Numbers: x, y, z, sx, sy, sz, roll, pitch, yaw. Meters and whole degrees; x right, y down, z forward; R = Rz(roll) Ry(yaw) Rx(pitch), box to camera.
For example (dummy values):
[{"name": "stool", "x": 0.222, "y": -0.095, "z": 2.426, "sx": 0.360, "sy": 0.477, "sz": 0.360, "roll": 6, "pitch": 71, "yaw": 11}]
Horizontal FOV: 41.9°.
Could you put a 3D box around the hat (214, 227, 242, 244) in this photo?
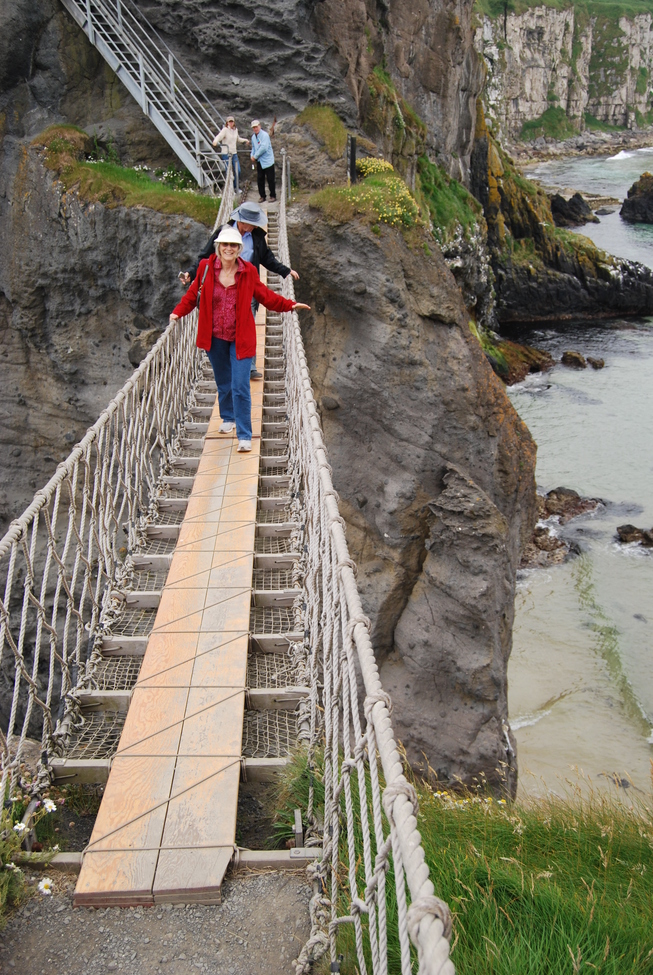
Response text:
[{"name": "hat", "x": -0.586, "y": -1.529, "z": 5.104, "sx": 0.151, "sy": 0.084, "sz": 0.190, "roll": 1, "pitch": 6, "yaw": -2}]

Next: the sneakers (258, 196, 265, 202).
[{"name": "sneakers", "x": -1.000, "y": -4.381, "z": 13.036, "sx": 0.051, "sy": 0.057, "sz": 0.137, "roll": -2, "pitch": -1, "yaw": 4}]

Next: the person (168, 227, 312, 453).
[{"name": "person", "x": -0.676, "y": -0.897, "z": 5.658, "sx": 0.559, "sy": 1.373, "sz": 0.635, "roll": -11, "pitch": 21, "yaw": -39}]
